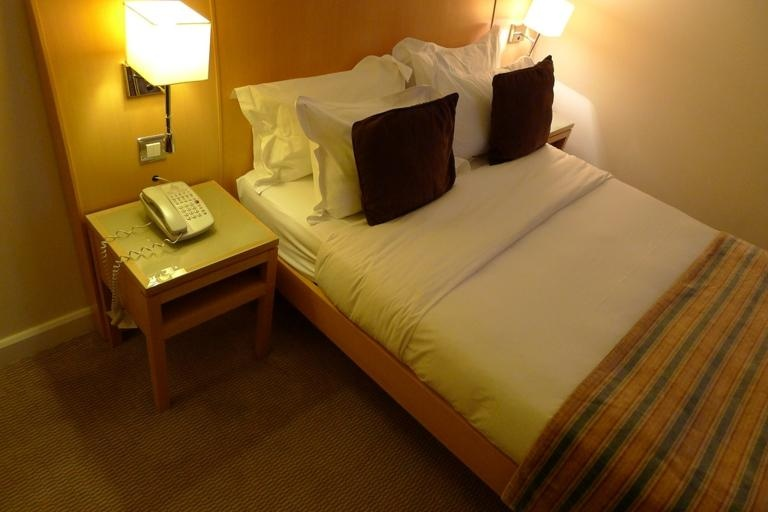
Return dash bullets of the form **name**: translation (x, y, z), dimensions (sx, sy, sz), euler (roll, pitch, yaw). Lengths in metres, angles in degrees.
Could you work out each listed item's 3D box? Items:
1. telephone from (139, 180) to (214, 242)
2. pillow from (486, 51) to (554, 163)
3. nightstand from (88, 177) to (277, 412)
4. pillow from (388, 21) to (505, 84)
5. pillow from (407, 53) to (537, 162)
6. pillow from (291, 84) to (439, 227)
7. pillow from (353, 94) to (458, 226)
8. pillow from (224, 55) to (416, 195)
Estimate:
- **telephone**: translation (-1.000, -0.218, 2.669), dimensions (0.241, 0.164, 0.313), euler (-27, 51, -35)
- **pillow**: translation (0.857, -0.927, 3.509), dimensions (0.610, 0.606, 0.210), euler (-27, 36, -33)
- **nightstand**: translation (-1.029, 0.171, 2.857), dimensions (0.820, 0.751, 0.668), euler (-21, 47, -31)
- **pillow**: translation (0.372, -1.297, 3.528), dimensions (0.955, 0.427, 0.133), euler (-14, -2, -41)
- **pillow**: translation (0.515, -0.862, 3.281), dimensions (0.681, 0.596, 0.236), euler (-14, 8, -38)
- **pillow**: translation (0.005, -0.570, 3.003), dimensions (0.856, 0.678, 0.314), euler (-15, 35, -17)
- **pillow**: translation (0.159, -0.538, 2.967), dimensions (0.736, 0.546, 0.261), euler (-23, 33, -33)
- **pillow**: translation (-0.383, -0.665, 2.915), dimensions (0.665, 0.370, 0.242), euler (-30, 27, -30)
